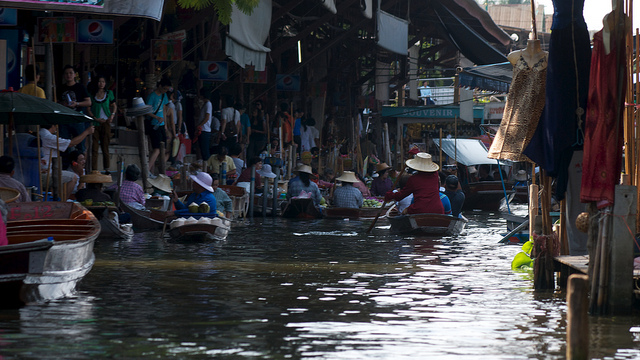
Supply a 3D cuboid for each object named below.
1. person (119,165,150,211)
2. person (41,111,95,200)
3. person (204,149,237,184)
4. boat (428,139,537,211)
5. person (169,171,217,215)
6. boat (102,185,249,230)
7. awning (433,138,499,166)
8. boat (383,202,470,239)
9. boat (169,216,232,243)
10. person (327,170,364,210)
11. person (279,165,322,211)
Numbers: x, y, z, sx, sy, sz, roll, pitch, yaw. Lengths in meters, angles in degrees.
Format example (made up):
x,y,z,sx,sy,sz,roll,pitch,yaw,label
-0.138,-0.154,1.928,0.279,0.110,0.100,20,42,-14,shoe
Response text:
x,y,z,sx,sy,sz,roll,pitch,yaw,label
-4.787,0.204,26.685,0.825,1.183,0.754,9,5,8,person
-5.851,-0.285,24.968,1.560,2.481,0.875,-2,3,1,person
-2.854,-0.554,31.633,0.635,1.384,0.415,10,-36,-16,person
5.863,-0.304,38.964,2.441,1.777,4.672,1,6,-7,boat
-3.004,0.279,25.825,1.271,1.026,0.881,3,11,18,person
-3.626,0.766,27.949,2.116,1.453,4.679,0,-1,-18,boat
5.500,-1.114,39.250,1.505,0.539,1.818,5,25,-16,awning
3.090,1.205,28.039,1.740,0.644,2.687,-8,7,3,boat
-3.017,1.176,25.925,1.644,0.664,2.093,0,-2,0,boat
0.777,0.331,31.928,1.279,1.303,0.787,3,1,1,person
-0.540,0.263,31.746,1.146,1.334,1.463,3,0,1,person
